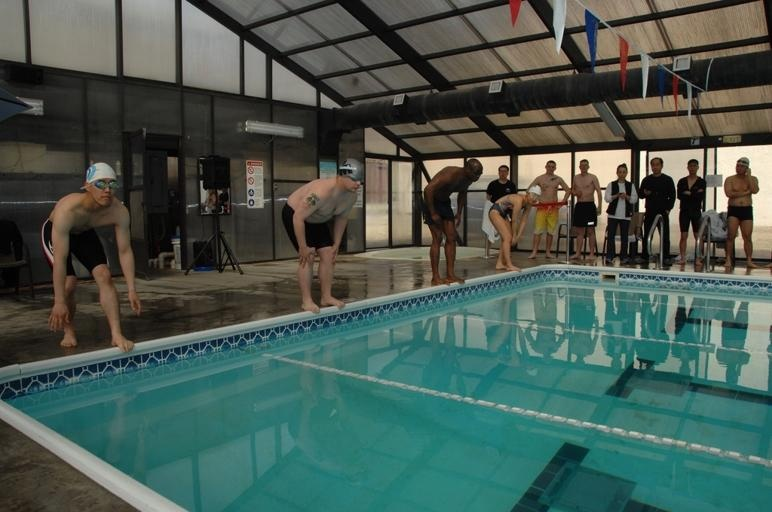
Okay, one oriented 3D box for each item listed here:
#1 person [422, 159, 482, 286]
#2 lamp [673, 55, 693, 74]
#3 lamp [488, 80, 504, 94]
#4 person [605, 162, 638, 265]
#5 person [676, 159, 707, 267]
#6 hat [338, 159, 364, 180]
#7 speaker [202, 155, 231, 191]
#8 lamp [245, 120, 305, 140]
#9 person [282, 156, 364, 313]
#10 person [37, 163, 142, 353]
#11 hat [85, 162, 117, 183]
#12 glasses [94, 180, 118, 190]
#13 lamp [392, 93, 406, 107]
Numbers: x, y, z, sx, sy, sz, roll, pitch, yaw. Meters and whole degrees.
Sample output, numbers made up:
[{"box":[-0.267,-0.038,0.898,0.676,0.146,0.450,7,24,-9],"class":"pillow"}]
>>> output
[{"box":[0.961,-0.491,8.490,0.826,1.892,0.993,0,14,3],"class":"person"},{"box":[4.346,-2.810,8.380,0.253,0.216,0.199,4,15,19],"class":"lamp"},{"box":[1.901,-2.901,9.849,0.257,0.226,0.169,4,15,18],"class":"lamp"},{"box":[4.432,-0.720,10.829,0.547,2.004,1.583,5,15,23],"class":"person"},{"box":[5.612,-0.814,10.569,0.442,1.882,0.813,6,15,27],"class":"person"},{"box":[-0.346,-0.946,6.386,0.208,0.237,0.279,19,31,39],"class":"hat"},{"box":[-3.131,-1.503,10.348,0.604,0.586,0.434,1,14,8],"class":"speaker"},{"box":[-2.268,-2.565,11.682,0.277,0.428,1.506,11,19,40],"class":"lamp"},{"box":[-0.714,-0.239,6.692,0.932,1.769,0.729,-4,14,-11],"class":"person"},{"box":[-2.828,0.009,5.446,0.811,1.750,0.899,-10,16,-30],"class":"person"},{"box":[-2.639,-0.766,5.272,0.226,0.170,0.364,-9,17,-27],"class":"hat"},{"box":[-2.533,-0.642,5.181,0.193,0.097,0.103,-11,17,-32],"class":"glasses"},{"box":[0.254,-2.960,10.878,0.153,0.195,0.336,-8,16,-26],"class":"lamp"}]
